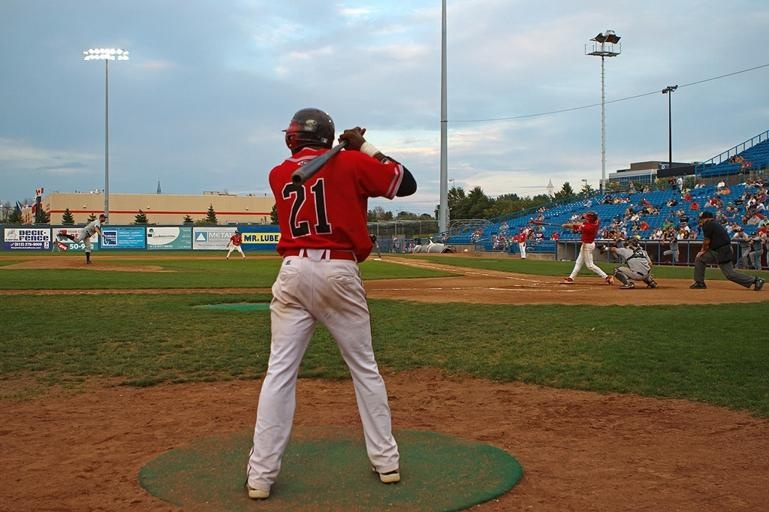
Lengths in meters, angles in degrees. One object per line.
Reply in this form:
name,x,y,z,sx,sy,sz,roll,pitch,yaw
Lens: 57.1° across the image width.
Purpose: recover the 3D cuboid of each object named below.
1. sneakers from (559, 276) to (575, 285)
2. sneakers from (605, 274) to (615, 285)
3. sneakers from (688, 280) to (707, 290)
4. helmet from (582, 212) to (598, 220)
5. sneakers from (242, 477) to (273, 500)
sneakers,5.034,0.716,20.003,0.631,0.205,0.205,2,-2,30
sneakers,6.187,0.660,19.460,0.246,0.158,0.476,-1,-19,6
sneakers,7.903,0.733,17.798,0.501,0.166,0.179,1,-2,1
helmet,5.479,-1.039,18.768,0.375,0.231,0.261,9,-4,-22
sneakers,-1.201,2.201,6.716,0.197,0.141,0.484,1,-7,-6
